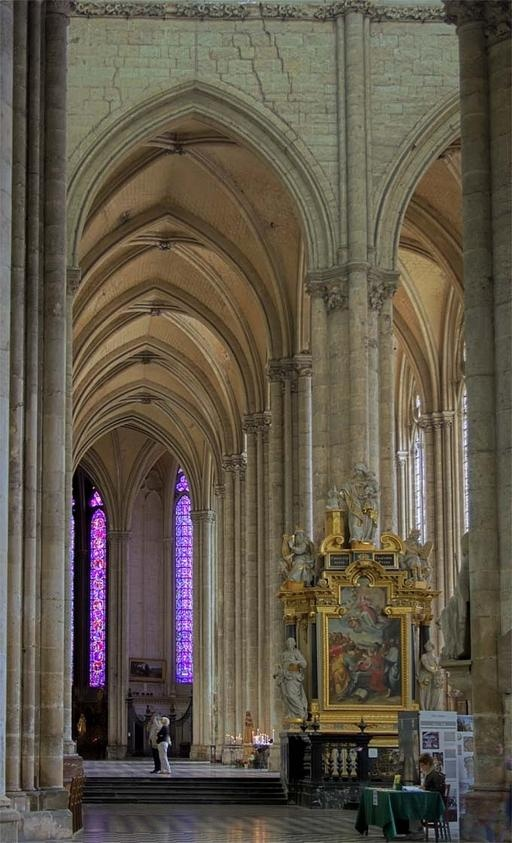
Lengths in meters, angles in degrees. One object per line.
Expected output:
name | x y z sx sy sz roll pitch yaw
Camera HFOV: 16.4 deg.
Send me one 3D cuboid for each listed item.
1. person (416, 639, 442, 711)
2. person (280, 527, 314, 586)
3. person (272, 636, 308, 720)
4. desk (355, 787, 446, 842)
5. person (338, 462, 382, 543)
person | 2.420 3.538 24.734 0.334 1.016 0.847 -3 -14 4
person | 0.624 1.997 25.529 0.475 0.849 0.669 0 -14 -8
person | 0.511 3.631 24.837 0.436 1.252 0.648 -2 -13 1
desk | 1.352 3.679 16.695 0.464 0.420 0.789 2 -19 -21
person | 1.488 1.146 25.170 0.446 1.197 0.251 0 15 6
